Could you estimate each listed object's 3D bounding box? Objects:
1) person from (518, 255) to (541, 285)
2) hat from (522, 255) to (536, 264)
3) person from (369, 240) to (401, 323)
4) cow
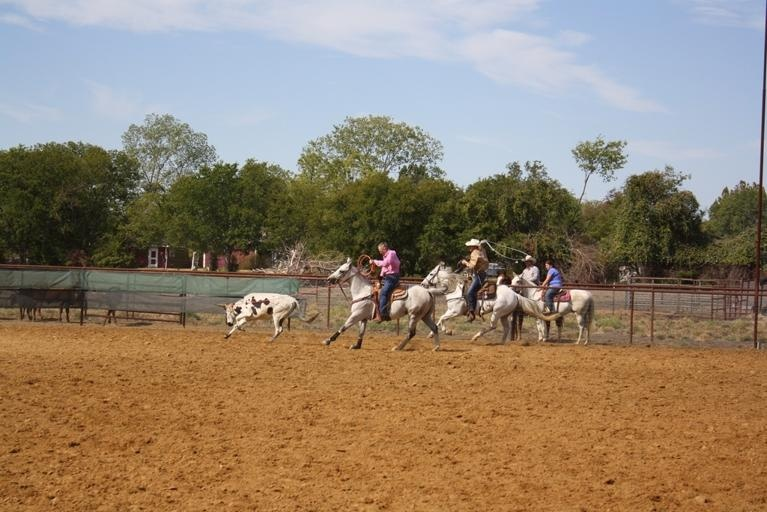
[{"bbox_3d":[6.178,0.551,32.289,0.828,1.539,0.820,24,-32,-28],"label":"person"},{"bbox_3d":[6.659,0.158,34.977,0.608,0.204,0.630,-3,-19,0],"label":"hat"},{"bbox_3d":[0.052,0.705,21.512,0.763,2.240,1.254,4,-4,-1],"label":"person"},{"bbox_3d":[-3.565,1.836,23.345,2.040,1.382,0.963,3,-4,16],"label":"cow"}]
